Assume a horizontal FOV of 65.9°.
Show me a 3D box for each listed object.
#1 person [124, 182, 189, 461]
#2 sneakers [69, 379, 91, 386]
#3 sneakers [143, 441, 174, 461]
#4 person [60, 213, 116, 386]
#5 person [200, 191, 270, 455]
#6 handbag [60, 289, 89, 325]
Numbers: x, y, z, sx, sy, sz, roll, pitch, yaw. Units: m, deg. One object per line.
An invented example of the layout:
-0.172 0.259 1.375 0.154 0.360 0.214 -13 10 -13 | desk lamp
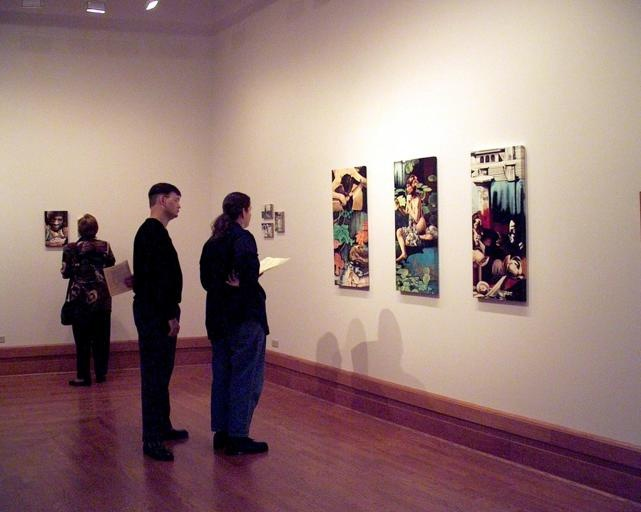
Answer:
-1.372 0.524 4.172 0.455 2.266 0.465 -1 2 -17 | person
-2.975 1.564 6.157 0.248 0.071 0.115 8 0 5 | sneakers
-1.339 1.587 4.121 0.319 0.148 0.109 -4 -6 42 | sneakers
-2.884 0.533 6.186 0.610 2.101 0.252 -2 3 -33 | person
-0.713 0.571 4.091 0.551 2.186 0.408 0 2 -1 | person
-3.010 0.625 6.065 0.239 0.390 0.106 8 -1 5 | handbag
